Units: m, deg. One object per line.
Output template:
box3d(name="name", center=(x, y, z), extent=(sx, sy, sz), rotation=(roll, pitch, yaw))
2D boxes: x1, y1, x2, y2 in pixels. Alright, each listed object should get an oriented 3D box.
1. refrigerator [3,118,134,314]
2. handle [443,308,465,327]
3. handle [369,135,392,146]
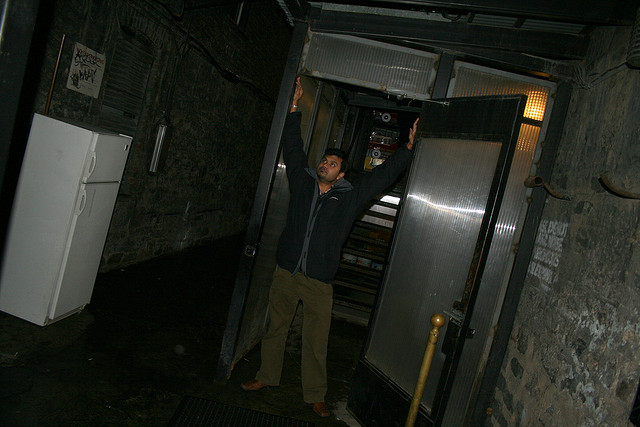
box3d(name="refrigerator", center=(-2.717, 0.102, 4.662), extent=(0.960, 2.082, 0.654), rotation=(8, 9, -28))
box3d(name="handle", center=(1.087, 0.876, 3.536), extent=(0.116, 0.089, 0.033), rotation=(12, 24, 38))
box3d(name="handle", center=(1.357, -1.655, 9.868), extent=(0.429, 0.146, 0.221), rotation=(14, 9, 8))
